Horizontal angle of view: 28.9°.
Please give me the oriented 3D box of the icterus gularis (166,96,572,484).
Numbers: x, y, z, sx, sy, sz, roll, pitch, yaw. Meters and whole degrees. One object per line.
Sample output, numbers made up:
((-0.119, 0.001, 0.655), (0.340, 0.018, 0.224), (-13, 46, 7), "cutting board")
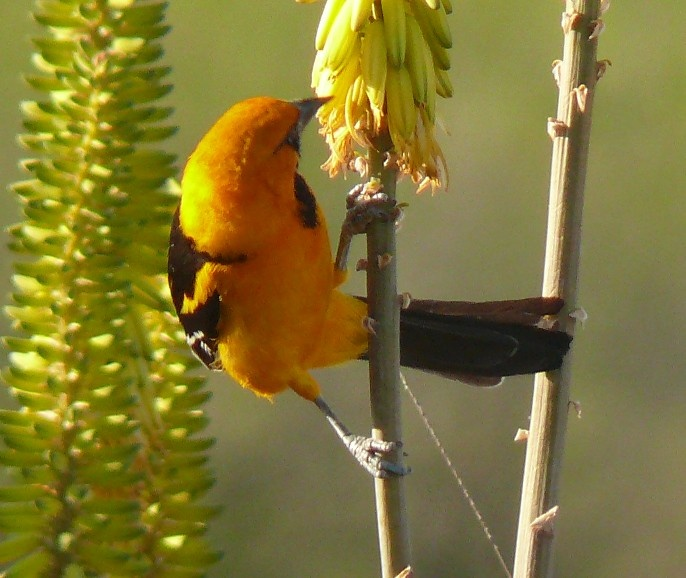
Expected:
((-0.016, -0.027, 1.603), (0.640, 0.459, 0.199), (-2, -22, 33), "icterus gularis")
